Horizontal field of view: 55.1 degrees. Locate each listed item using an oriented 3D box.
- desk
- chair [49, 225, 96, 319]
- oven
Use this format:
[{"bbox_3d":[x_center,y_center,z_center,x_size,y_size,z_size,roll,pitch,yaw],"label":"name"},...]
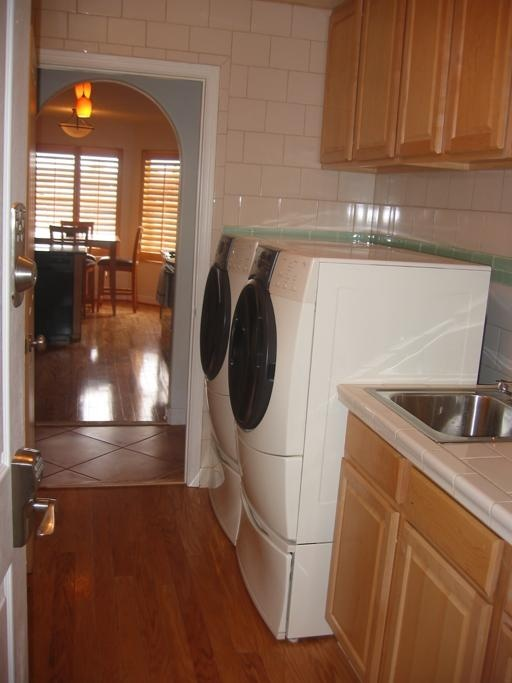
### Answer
[{"bbox_3d":[-2.417,-1.023,7.192,0.559,0.818,0.702,16,-18,-27],"label":"desk"},{"bbox_3d":[-2.399,-0.999,6.878,0.405,1.269,0.410,11,13,35],"label":"chair"},{"bbox_3d":[-2.223,-0.506,5.602,0.555,1.140,0.489,-2,9,-29],"label":"oven"}]
